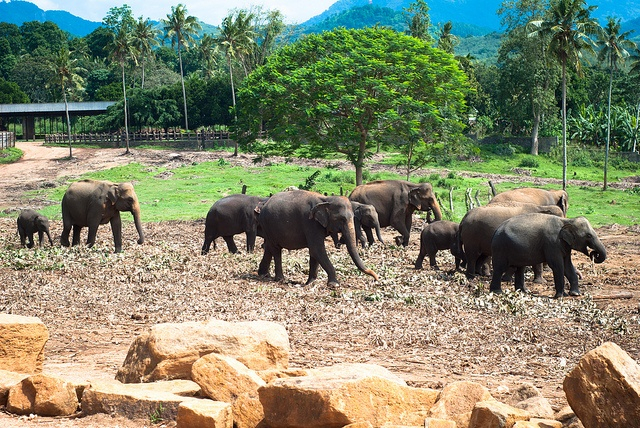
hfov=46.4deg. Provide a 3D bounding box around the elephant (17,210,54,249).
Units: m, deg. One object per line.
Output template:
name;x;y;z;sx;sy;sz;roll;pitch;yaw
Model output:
elephant;-10.750;0.580;28.068;1.676;1.409;0.767;7;4;25

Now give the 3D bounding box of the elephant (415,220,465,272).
elephant;4.552;1.097;26.022;2.387;1.660;1.064;3;-1;6

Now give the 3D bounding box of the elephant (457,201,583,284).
elephant;6.284;0.671;24.325;4.095;2.521;1.783;-3;10;-3

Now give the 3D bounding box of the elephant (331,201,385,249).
elephant;1.470;0.347;28.072;1.099;1.563;1.998;-11;12;-40
